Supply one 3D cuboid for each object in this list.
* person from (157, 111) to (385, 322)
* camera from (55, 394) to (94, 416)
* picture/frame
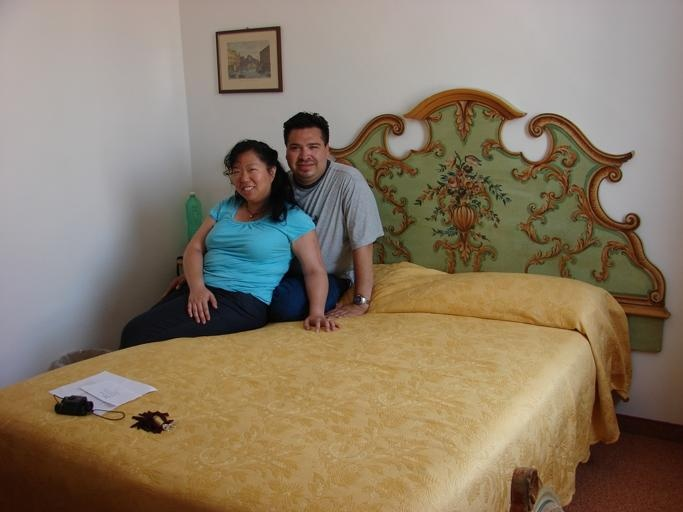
[{"bbox_3d":[-0.285,-0.221,2.929,1.023,1.308,0.763,-4,-21,20],"label":"person"},{"bbox_3d":[-0.909,0.490,1.766,0.108,0.045,0.063,3,8,3],"label":"camera"},{"bbox_3d":[-0.615,-1.339,3.538,0.424,0.384,0.017,6,18,29],"label":"picture/frame"}]
